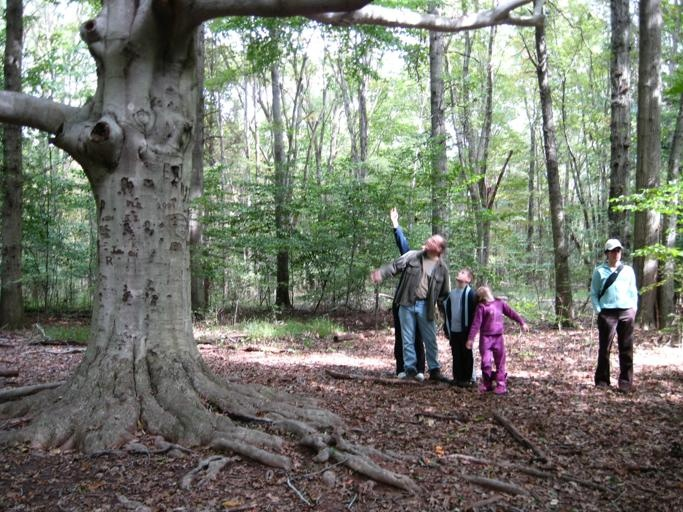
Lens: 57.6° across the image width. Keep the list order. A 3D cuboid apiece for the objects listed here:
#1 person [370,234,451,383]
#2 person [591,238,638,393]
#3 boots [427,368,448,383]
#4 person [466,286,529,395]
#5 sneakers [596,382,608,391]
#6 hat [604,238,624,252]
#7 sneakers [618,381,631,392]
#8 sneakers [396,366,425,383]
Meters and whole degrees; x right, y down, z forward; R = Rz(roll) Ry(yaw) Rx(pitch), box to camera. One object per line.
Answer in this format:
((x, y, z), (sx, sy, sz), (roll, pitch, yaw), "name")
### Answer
((1.325, 0.871, 10.415), (0.927, 2.423, 0.281), (-1, -3, 7), "person")
((4.474, 0.954, 10.266), (0.681, 2.487, 0.469), (-2, -3, 26), "person")
((1.570, 1.985, 10.315), (0.386, 0.311, 0.140), (-1, -1, -4), "boots")
((2.475, 1.354, 10.184), (0.928, 1.707, 0.645), (-1, -3, 5), "person")
((4.230, 2.140, 10.142), (0.124, 0.059, 0.134), (-2, 4, 5), "sneakers")
((4.506, -0.175, 10.404), (0.257, 0.215, 0.384), (1, -6, 4), "hat")
((4.562, 2.110, 10.024), (0.265, 0.151, 0.138), (1, -4, -23), "sneakers")
((1.148, 1.968, 10.299), (0.467, 0.233, 0.184), (2, -6, 19), "sneakers")
